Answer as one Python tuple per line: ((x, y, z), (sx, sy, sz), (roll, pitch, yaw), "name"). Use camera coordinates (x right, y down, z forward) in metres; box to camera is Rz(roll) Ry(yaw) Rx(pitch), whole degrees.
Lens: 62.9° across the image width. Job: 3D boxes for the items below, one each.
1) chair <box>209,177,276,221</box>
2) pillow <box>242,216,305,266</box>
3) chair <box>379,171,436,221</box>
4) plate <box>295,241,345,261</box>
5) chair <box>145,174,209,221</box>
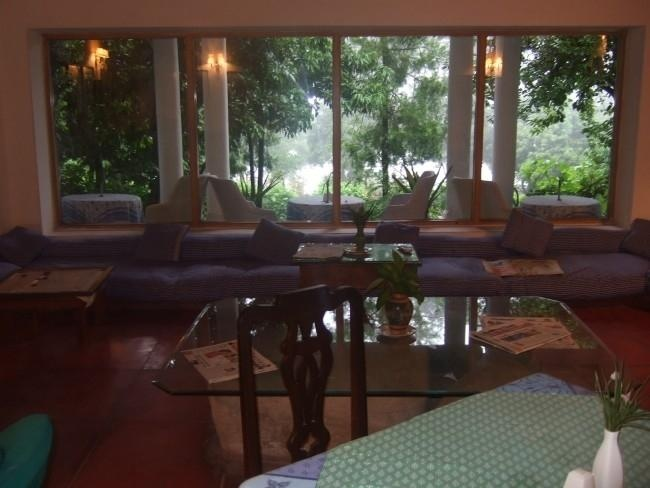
((-0.935, -0.544, 5.898), (0.568, 0.761, 0.516), (-3, 10, -13), "chair")
((-0.507, 0.006, 5.313), (0.459, 0.436, 0.147), (29, -3, 20), "pillow")
((0.904, -0.530, 5.940), (0.586, 0.483, 0.462), (1, 10, 3), "chair")
((-0.035, 0.058, 4.205), (0.382, 0.031, 0.521), (0, 13, 4), "plate")
((-1.640, -0.507, 6.069), (0.608, 0.684, 0.478), (2, 2, 2), "chair")
